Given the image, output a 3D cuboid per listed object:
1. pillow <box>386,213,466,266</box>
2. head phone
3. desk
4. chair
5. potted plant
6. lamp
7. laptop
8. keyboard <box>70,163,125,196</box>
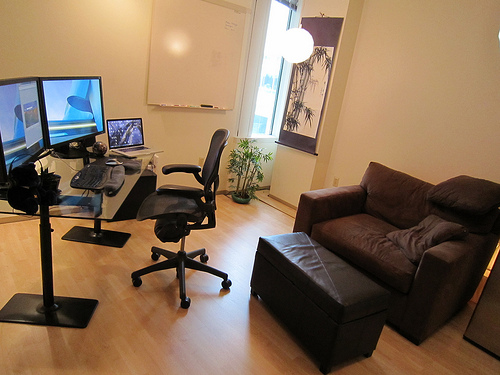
[{"bbox_3d":[1.547,0.420,3.356,0.530,0.302,0.419,-2,21,-16],"label":"pillow"},{"bbox_3d":[-1.420,-0.009,2.595,0.407,0.223,0.353,-14,-3,-16],"label":"head phone"},{"bbox_3d":[-1.414,0.269,3.187,0.892,1.130,1.366,2,20,-4],"label":"desk"},{"bbox_3d":[-0.612,0.207,3.313,0.779,1.388,0.848,-6,22,-31],"label":"chair"},{"bbox_3d":[-0.097,-0.197,5.148,0.505,0.848,0.623,3,6,-18],"label":"potted plant"},{"bbox_3d":[0.528,-1.769,4.455,0.497,0.401,0.387,1,38,-19],"label":"lamp"},{"bbox_3d":[-1.180,-0.520,3.873,0.448,0.343,0.521,7,15,17],"label":"laptop"},{"bbox_3d":[-1.191,-0.068,3.023,0.249,0.091,0.377,14,20,-11],"label":"keyboard"}]
